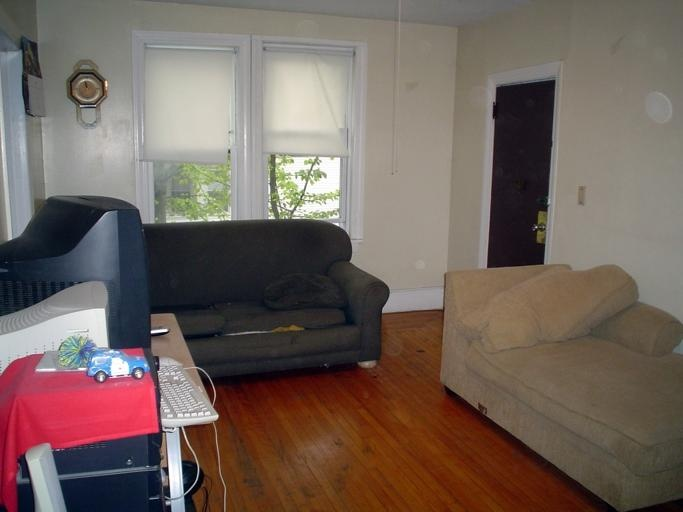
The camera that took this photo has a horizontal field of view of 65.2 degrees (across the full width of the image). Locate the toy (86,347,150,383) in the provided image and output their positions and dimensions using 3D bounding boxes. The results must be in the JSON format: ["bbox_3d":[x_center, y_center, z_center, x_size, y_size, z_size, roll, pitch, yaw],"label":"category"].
[{"bbox_3d":[-0.558,0.267,1.335,0.128,0.064,0.074,-1,14,-14],"label":"toy"}]

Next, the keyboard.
[{"bbox_3d":[-0.486,0.461,1.680,0.151,0.175,0.378,-4,13,-19],"label":"keyboard"}]

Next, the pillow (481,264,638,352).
[{"bbox_3d":[1.289,0.282,3.152,0.786,0.253,0.491,-15,31,-5],"label":"pillow"}]

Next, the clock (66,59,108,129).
[{"bbox_3d":[-2.092,-1.341,4.428,0.313,0.559,0.090,-4,-1,-10],"label":"clock"}]
